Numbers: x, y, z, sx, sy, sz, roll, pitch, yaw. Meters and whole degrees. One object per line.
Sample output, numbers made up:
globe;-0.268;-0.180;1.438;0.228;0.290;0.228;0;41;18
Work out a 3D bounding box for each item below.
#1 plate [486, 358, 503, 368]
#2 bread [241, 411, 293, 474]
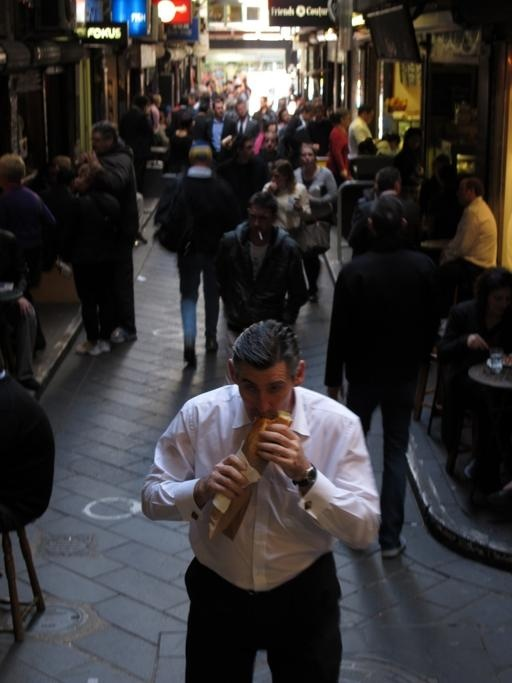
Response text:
plate;1.874;0.172;4.355;0.076;0.101;0.081;1;-4;12
bread;0.015;0.176;1.025;0.065;0.127;0.031;27;13;13
